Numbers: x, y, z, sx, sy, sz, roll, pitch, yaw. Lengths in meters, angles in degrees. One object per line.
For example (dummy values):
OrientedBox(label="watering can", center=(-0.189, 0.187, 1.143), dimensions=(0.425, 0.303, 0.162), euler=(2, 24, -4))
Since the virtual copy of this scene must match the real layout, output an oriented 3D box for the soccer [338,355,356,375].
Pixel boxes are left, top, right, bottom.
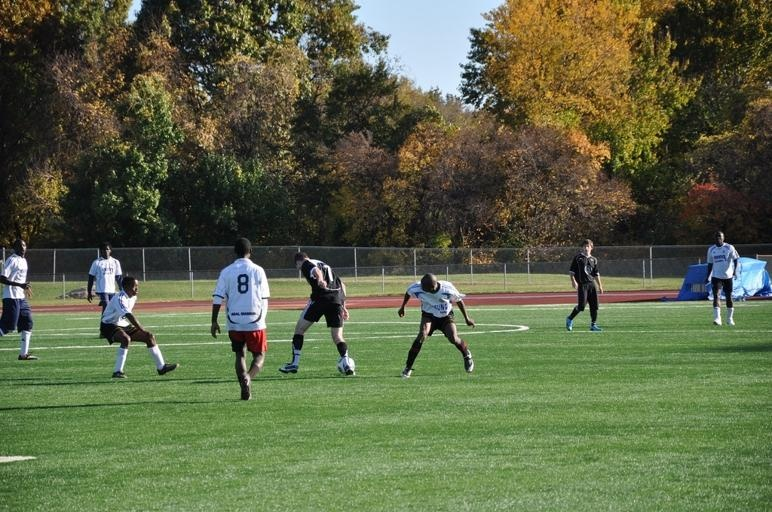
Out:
OrientedBox(label="soccer", center=(-1.566, 4.378, 50.948), dimensions=(0.606, 0.758, 0.743), euler=(4, -14, -1))
